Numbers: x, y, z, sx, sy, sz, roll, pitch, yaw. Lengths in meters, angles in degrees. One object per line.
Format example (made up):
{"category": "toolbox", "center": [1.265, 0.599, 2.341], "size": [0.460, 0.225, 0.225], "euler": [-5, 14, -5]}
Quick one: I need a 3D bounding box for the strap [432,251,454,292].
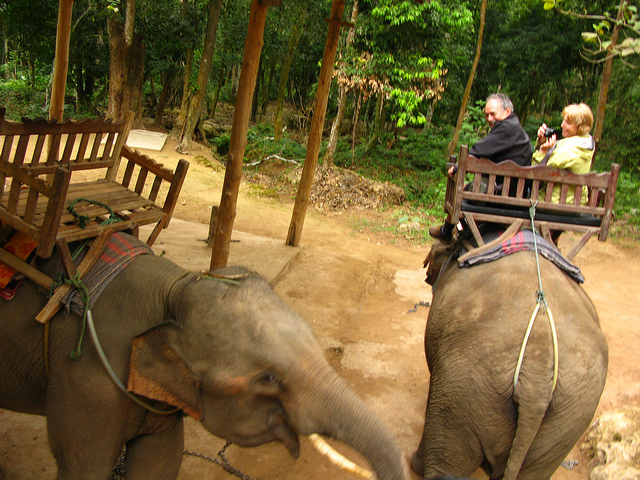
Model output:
{"category": "strap", "center": [1.242, 0.283, 5.206], "size": [0.055, 0.448, 0.125], "euler": [31, 3, 4]}

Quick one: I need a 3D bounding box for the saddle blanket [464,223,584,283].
{"category": "saddle blanket", "center": [1.836, -0.035, 4.931], "size": [0.736, 0.712, 0.747], "euler": [3, 4, 5]}

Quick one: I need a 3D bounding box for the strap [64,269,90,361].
{"category": "strap", "center": [-1.529, 0.468, 3.382], "size": [0.200, 0.493, 0.277], "euler": [-4, 11, -34]}

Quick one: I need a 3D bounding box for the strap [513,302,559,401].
{"category": "strap", "center": [1.629, 0.806, 3.901], "size": [0.298, 0.614, 0.304], "euler": [13, 8, 22]}

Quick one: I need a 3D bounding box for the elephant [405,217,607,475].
{"category": "elephant", "center": [1.491, 0.914, 4.417], "size": [1.172, 1.706, 1.448], "euler": [8, 8, -18]}

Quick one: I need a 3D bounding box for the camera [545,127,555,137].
{"category": "camera", "center": [2.552, -1.182, 5.797], "size": [0.089, 0.112, 0.182], "euler": [9, 11, 10]}

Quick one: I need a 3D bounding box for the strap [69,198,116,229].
{"category": "strap", "center": [-1.633, -0.193, 3.766], "size": [0.280, 0.154, 0.354], "euler": [5, 11, -44]}

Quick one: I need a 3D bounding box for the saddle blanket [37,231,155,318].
{"category": "saddle blanket", "center": [-1.462, 0.187, 3.520], "size": [0.505, 0.595, 0.210], "euler": [26, -27, 23]}

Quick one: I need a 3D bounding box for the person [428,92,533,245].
{"category": "person", "center": [1.947, -0.933, 5.756], "size": [0.775, 1.327, 0.513], "euler": [9, 38, 40]}
